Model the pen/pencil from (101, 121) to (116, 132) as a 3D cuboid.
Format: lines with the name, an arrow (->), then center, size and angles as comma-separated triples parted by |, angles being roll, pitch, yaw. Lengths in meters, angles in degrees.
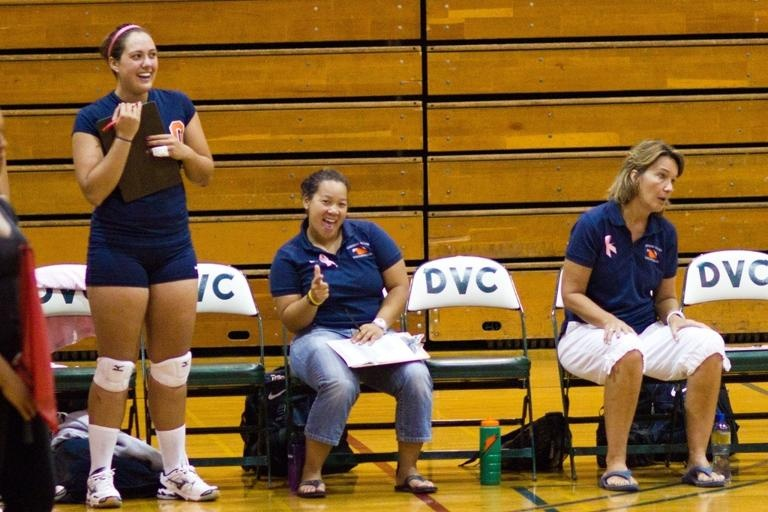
pen/pencil -> -1.642, -0.758, 8.309 | 0.082, 0.021, 0.020 | -34, -58, 20

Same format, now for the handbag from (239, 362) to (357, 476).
handbag -> -0.512, 1.092, 9.084 | 0.856, 0.740, 0.579 | -3, -4, 16

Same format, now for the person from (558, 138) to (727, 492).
person -> 1.620, 0.367, 8.853 | 1.053, 2.190, 0.399 | -2, -9, 5

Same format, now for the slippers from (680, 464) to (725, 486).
slippers -> 1.986, 1.349, 8.642 | 0.126, 0.066, 0.212 | 1, -7, -27

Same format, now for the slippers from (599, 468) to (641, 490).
slippers -> 1.450, 1.383, 8.642 | 0.239, 0.132, 0.121 | -2, -9, 8

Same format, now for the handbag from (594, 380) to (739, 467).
handbag -> 1.892, 1.115, 9.160 | 0.939, 0.543, 0.625 | 0, -14, -3

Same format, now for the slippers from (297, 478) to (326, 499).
slippers -> -0.453, 1.423, 8.604 | 0.172, 0.113, 0.099 | 0, -9, -3

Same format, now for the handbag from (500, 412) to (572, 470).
handbag -> 0.977, 1.200, 8.971 | 0.465, 0.365, 0.330 | -1, -6, 4

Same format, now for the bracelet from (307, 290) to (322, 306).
bracelet -> -0.449, 0.270, 8.678 | 0.101, 0.046, 0.089 | 47, -12, -25

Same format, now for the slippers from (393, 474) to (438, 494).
slippers -> 0.209, 1.405, 8.639 | 0.113, 0.062, 0.226 | 3, -8, -40

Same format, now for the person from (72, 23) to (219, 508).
person -> -1.483, 0.070, 8.440 | 0.853, 2.829, 0.688 | 3, -10, -21

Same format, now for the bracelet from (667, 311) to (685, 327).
bracelet -> 1.852, 0.397, 8.885 | 0.088, 0.049, 0.107 | 2, -13, -6

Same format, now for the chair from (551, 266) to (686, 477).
chair -> 1.539, 0.711, 9.022 | 0.966, 1.251, 1.026 | 0, 10, 22

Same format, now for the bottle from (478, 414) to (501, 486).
bottle -> 0.669, 1.228, 8.785 | 0.143, 0.401, 0.238 | -1, -9, 3

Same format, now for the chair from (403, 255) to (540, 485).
chair -> 0.553, 0.663, 8.848 | 1.031, 1.206, 1.021 | -3, 5, -14

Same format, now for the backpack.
backpack -> -1.737, 1.256, 8.611 | 0.687, 0.382, 0.397 | -2, -4, 11
